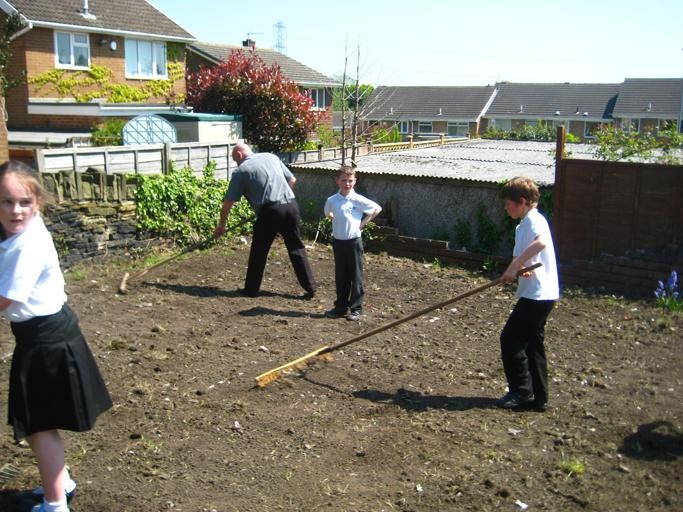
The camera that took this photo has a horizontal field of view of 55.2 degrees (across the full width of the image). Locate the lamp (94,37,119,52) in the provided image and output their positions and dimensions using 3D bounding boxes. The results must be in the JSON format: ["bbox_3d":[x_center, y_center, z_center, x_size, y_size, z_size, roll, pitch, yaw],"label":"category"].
[{"bbox_3d":[-8.633,-7.835,24.179,0.294,0.529,0.956,6,11,23],"label":"lamp"}]

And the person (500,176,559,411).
[{"bbox_3d":[1.951,0.446,6.835,0.642,2.498,0.533,3,12,11],"label":"person"}]

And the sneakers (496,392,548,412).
[{"bbox_3d":[1.962,1.568,7.146,0.586,0.212,0.193,-2,27,-3],"label":"sneakers"}]

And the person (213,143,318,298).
[{"bbox_3d":[-1.078,-0.483,9.781,1.354,2.325,0.490,1,12,-3],"label":"person"}]

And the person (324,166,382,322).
[{"bbox_3d":[0.129,-0.179,9.242,0.681,2.129,0.541,-2,12,-16],"label":"person"}]
